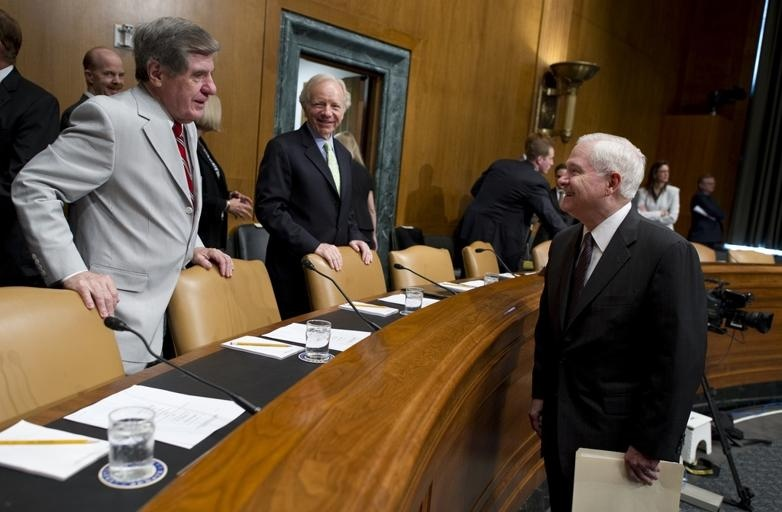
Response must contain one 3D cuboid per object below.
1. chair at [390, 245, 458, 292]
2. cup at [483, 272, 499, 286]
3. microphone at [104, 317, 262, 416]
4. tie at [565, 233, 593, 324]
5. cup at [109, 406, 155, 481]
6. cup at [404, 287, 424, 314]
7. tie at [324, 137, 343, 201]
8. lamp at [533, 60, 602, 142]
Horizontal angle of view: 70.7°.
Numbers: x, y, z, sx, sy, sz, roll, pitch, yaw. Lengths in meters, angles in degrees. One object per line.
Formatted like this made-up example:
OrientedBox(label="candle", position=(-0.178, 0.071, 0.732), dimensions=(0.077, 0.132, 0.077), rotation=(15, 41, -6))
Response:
OrientedBox(label="chair", position=(0.187, 0.083, 3.740), dimensions=(0.297, 0.444, 0.350), rotation=(1, -7, -31))
OrientedBox(label="cup", position=(0.622, 0.142, 3.433), dimensions=(0.112, 0.076, 0.113), rotation=(-2, -5, 0))
OrientedBox(label="microphone", position=(-0.762, 0.400, 1.991), dimensions=(0.499, 0.055, 0.057), rotation=(29, -25, 23))
OrientedBox(label="tie", position=(0.840, -0.015, 2.422), dimensions=(0.065, 0.644, 0.065), rotation=(-15, -42, 44))
OrientedBox(label="cup", position=(-0.683, 0.489, 1.451), dimensions=(0.114, 0.205, 0.107), rotation=(-1, 11, 0))
OrientedBox(label="cup", position=(0.109, 0.228, 2.732), dimensions=(0.087, 0.122, 0.115), rotation=(1, 0, -15))
OrientedBox(label="tie", position=(-0.358, -0.563, 3.420), dimensions=(0.059, 0.437, 0.063), rotation=(-8, -16, -18))
OrientedBox(label="lamp", position=(2.175, -1.932, 6.936), dimensions=(0.492, 0.952, 0.575), rotation=(-9, 14, -36))
